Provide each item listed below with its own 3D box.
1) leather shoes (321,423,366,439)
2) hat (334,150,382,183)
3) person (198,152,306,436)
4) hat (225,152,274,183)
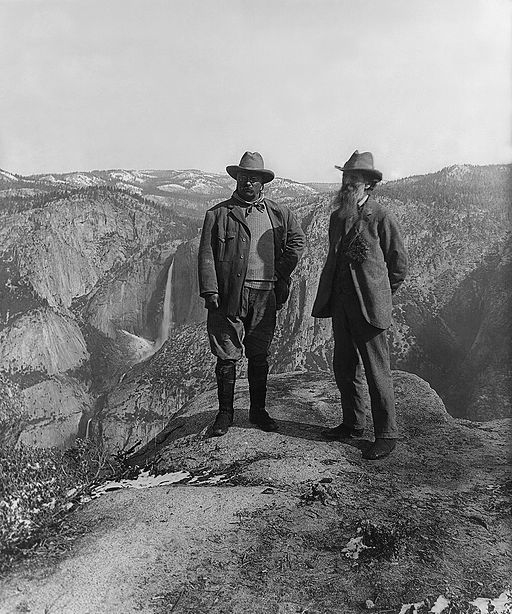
[{"bbox_3d":[0.739,1.058,4.468,0.350,0.180,0.140,3,-1,5],"label":"leather shoes"},{"bbox_3d":[0.821,-1.093,4.113,0.316,0.240,0.197,-1,8,1],"label":"hat"},{"bbox_3d":[-0.045,-0.123,4.632,0.894,2.385,0.431,-2,8,-6],"label":"person"},{"bbox_3d":[-0.021,-1.167,4.389,0.355,0.247,0.500,-4,9,-15],"label":"hat"}]
